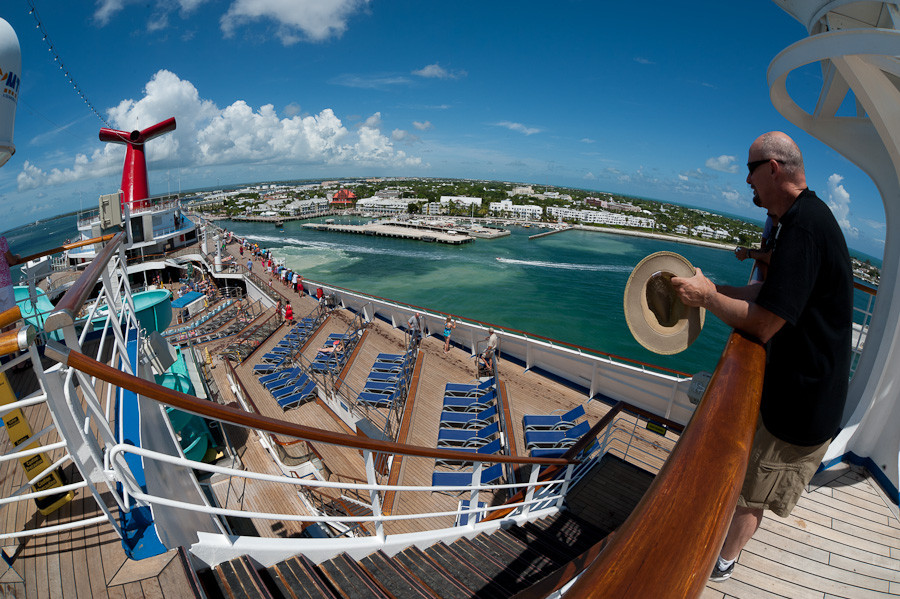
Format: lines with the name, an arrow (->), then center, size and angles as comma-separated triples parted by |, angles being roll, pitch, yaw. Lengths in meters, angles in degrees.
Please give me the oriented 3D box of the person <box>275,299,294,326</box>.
person -> -5.922, 0.461, 15.293 | 0.369, 0.581, 1.082 | -13, -4, -15
